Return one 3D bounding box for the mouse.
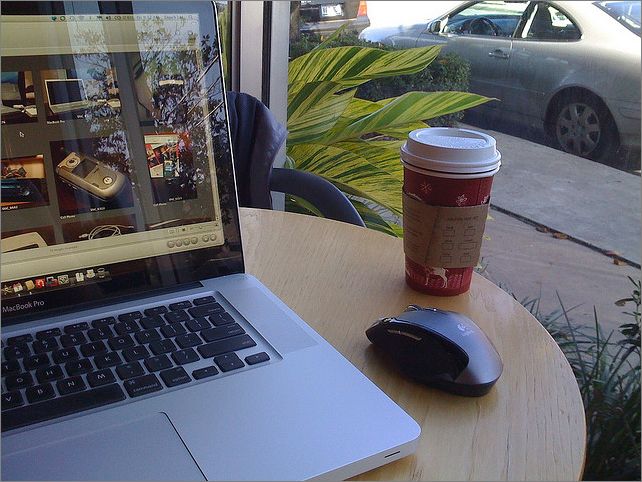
[{"bbox_3d":[0.139,0.125,0.538,0.131,0.048,0.083,26,33,36],"label":"mouse"}]
